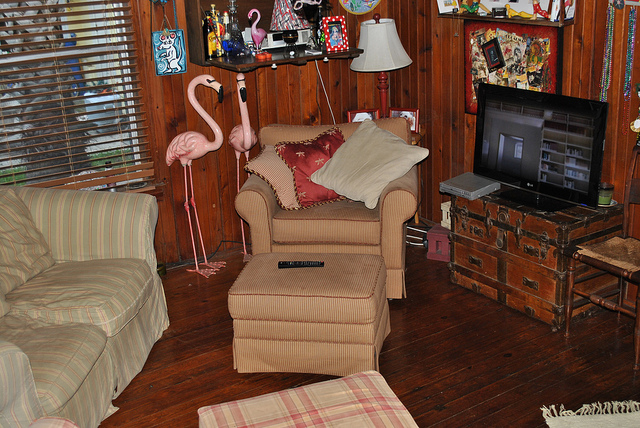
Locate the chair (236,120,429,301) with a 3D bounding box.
[{"bbox_3d":[0.094,-0.024,4.341,1.367,1.338,0.889,-1,22,5],"label":"chair"}]

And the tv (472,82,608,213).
[{"bbox_3d":[1.530,-0.498,3.785,0.304,0.777,1.031,-17,26,-31],"label":"tv"}]

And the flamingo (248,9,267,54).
[{"bbox_3d":[-0.526,-1.541,4.473,0.150,0.343,0.403,-6,20,-5],"label":"flamingo"}]

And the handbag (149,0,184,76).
[{"bbox_3d":[-1.255,-1.439,4.330,0.275,0.562,0.114,-11,21,-17],"label":"handbag"}]

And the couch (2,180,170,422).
[{"bbox_3d":[-1.472,0.554,3.272,0.695,0.763,1.175,-1,40,-6],"label":"couch"}]

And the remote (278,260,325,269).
[{"bbox_3d":[-0.139,0.325,3.425,0.252,0.044,0.058,0,-9,0],"label":"remote"}]
